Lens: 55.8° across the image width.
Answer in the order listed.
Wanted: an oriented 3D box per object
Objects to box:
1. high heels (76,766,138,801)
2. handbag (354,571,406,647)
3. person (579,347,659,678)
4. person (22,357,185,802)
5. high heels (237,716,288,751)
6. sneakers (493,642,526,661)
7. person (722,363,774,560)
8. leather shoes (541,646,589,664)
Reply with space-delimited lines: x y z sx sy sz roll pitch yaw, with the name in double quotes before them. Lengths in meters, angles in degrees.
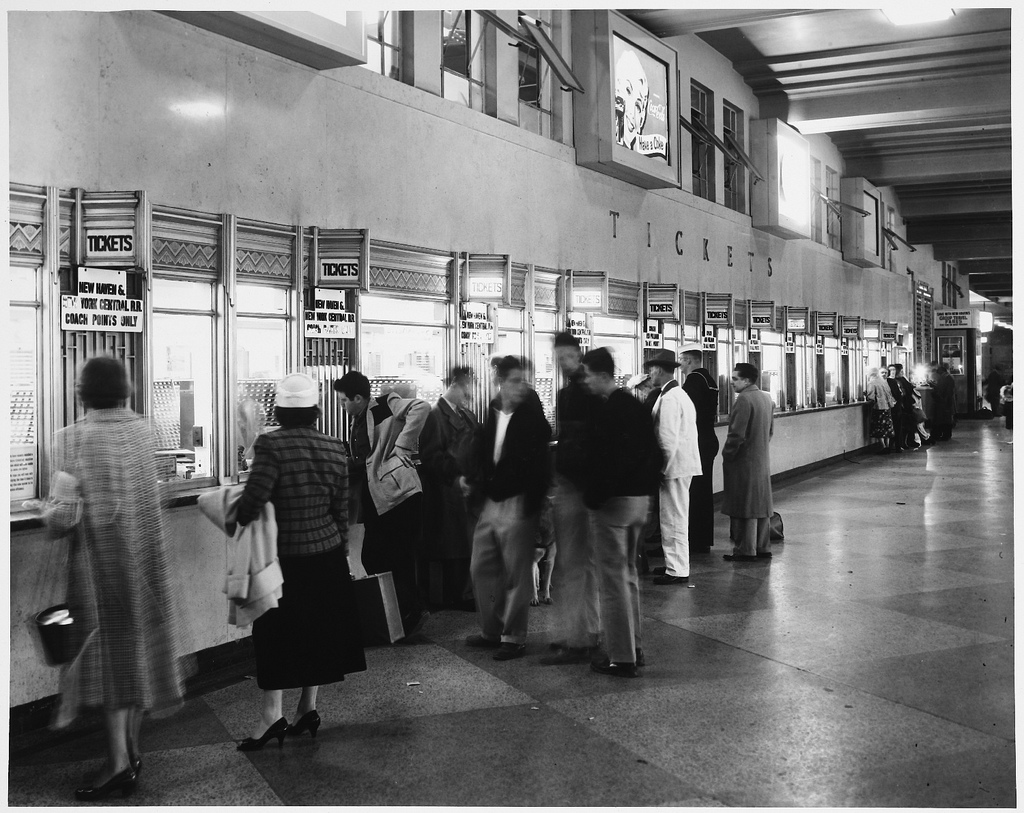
"high heels" -1.967 1.859 4.793 0.292 0.155 0.120 3 -4 -2
"handbag" -0.861 1.320 6.328 0.365 0.419 0.214 -17 -9 41
"person" 0.732 0.666 6.428 0.492 2.127 0.451 -2 2 9
"person" -2.012 0.826 4.879 0.610 1.864 0.353 -4 2 -30
"high heels" -1.325 1.783 5.316 0.317 0.206 0.119 -4 0 -2
"sneakers" -0.024 1.686 6.672 0.084 0.113 0.246 -4 -11 31
"person" 2.424 0.552 10.023 0.492 2.000 0.642 -2 2 17
"leather shoes" 0.359 1.686 6.624 0.333 0.175 0.126 4 -3 -7
